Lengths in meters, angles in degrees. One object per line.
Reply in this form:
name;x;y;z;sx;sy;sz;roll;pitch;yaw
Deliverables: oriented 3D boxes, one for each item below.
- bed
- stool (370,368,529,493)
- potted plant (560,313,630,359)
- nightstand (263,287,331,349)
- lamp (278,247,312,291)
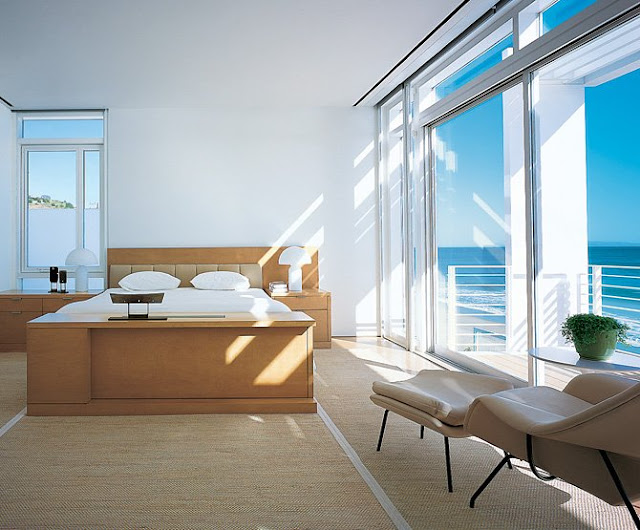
bed;-1.166;0.629;4.449;2.224;0.724;1.625;0;7;-3
stool;0.706;0.815;2.928;0.614;0.454;0.699;3;-4;-30
potted plant;1.638;0.385;2.997;0.267;0.219;0.291;-2;4;10
nightstand;-0.286;0.532;6.004;0.783;0.770;0.564;0;-2;-6
lamp;-0.297;0.041;6.049;0.475;0.628;0.485;0;0;18
